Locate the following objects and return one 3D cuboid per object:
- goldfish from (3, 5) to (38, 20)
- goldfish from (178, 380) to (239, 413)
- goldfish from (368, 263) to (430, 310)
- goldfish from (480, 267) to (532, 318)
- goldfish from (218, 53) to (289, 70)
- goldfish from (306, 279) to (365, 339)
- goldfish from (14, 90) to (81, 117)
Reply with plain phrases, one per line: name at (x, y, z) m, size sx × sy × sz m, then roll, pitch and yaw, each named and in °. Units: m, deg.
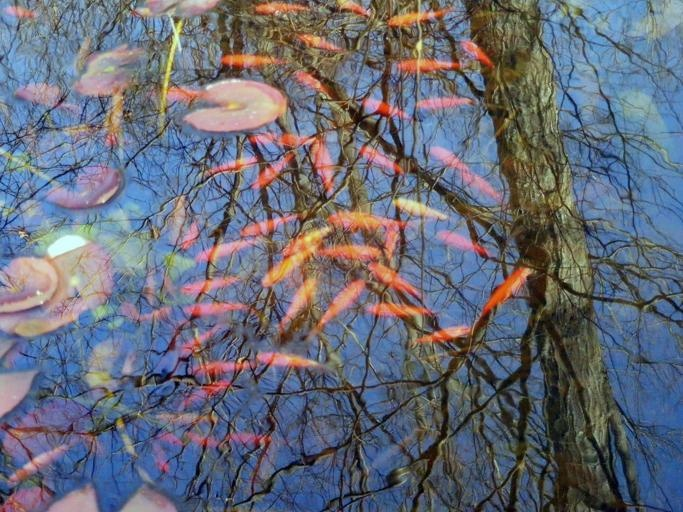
goldfish at (-2.505, -1.904, 8.315) m, size 0.256 × 0.107 × 0.055 m, roll 1°, pitch 15°, yaw 16°
goldfish at (-1.013, 1.043, 7.997) m, size 0.408 × 0.213 × 0.072 m, roll 0°, pitch 14°, yaw 12°
goldfish at (0.353, 0.201, 6.840) m, size 0.401 × 0.128 × 0.091 m, roll 30°, pitch 54°, yaw 16°
goldfish at (1.169, 0.251, 7.602) m, size 0.155 × 0.145 × 0.733 m, roll 19°, pitch 30°, yaw 32°
goldfish at (-0.670, -1.480, 8.080) m, size 0.552 × 0.112 × 0.085 m, roll 6°, pitch 17°, yaw 32°
goldfish at (-0.027, 0.380, 7.951) m, size 0.424 × 0.398 × 0.130 m, roll -4°, pitch 14°, yaw -2°
goldfish at (-2.275, -1.210, 8.228) m, size 0.522 × 0.234 × 0.121 m, roll 4°, pitch 16°, yaw 25°
